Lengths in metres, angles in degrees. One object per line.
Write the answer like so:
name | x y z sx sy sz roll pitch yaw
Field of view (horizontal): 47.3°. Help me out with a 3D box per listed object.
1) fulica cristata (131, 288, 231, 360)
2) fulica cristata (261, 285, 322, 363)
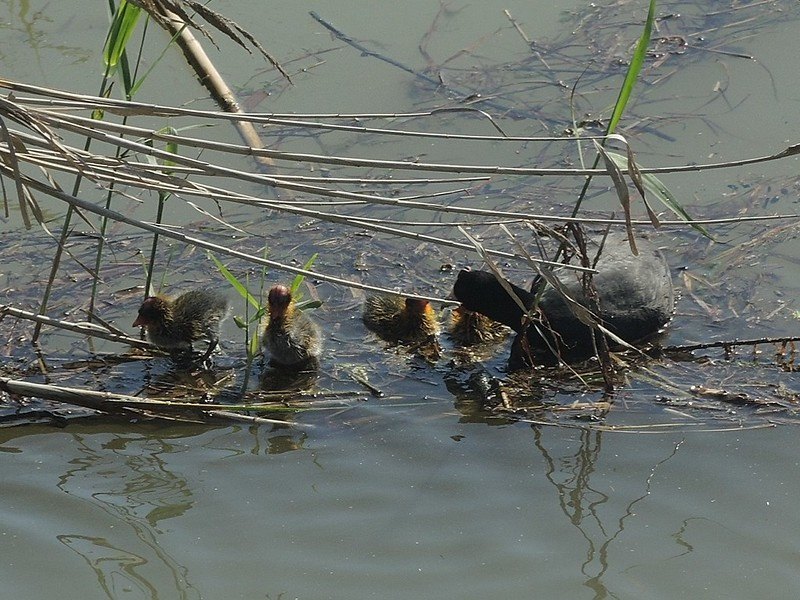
fulica cristata | -1.358 0.123 5.730 0.327 0.421 0.522 3 -1 37
fulica cristata | -0.669 0.168 5.706 0.373 0.487 0.349 4 -1 -4
